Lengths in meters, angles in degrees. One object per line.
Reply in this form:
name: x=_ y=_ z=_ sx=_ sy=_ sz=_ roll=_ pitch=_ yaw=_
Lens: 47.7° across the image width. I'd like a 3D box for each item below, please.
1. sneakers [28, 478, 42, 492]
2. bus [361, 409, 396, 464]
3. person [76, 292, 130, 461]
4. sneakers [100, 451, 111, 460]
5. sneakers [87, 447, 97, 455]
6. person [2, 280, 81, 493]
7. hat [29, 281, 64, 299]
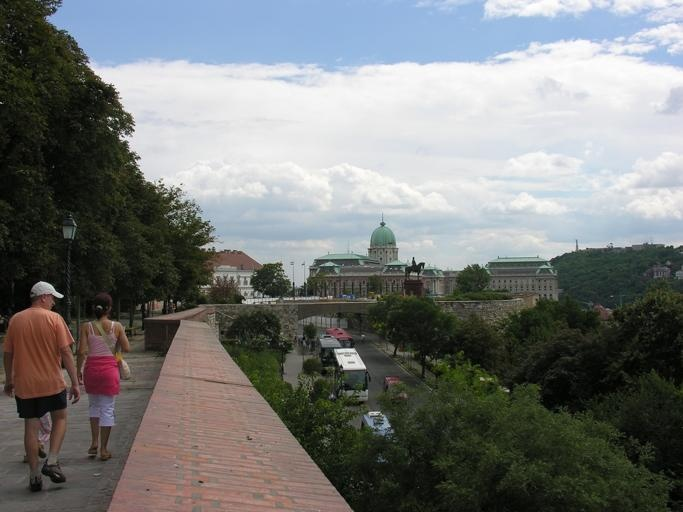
sneakers: x=-5.534 y=4.116 z=13.961 sx=0.249 sy=0.244 sz=0.207 roll=1 pitch=1 yaw=-8
bus: x=1.422 y=6.899 z=29.251 sx=1.121 sy=1.311 sz=4.095 roll=-3 pitch=-13 yaw=-2
person: x=-4.788 y=2.360 z=15.445 sx=0.916 sy=3.191 sz=0.863 roll=2 pitch=1 yaw=9
sneakers: x=-4.596 y=3.901 z=15.063 sx=0.093 sy=0.103 sz=0.231 roll=2 pitch=1 yaw=6
sneakers: x=-4.905 y=3.842 z=15.218 sx=0.172 sy=0.177 sz=0.123 roll=1 pitch=1 yaw=-12
person: x=-5.678 y=2.365 z=14.416 sx=1.303 sy=3.693 sz=1.149 roll=2 pitch=1 yaw=-2
hat: x=-5.639 y=0.671 z=14.952 sx=0.684 sy=0.362 sz=0.443 roll=-4 pitch=8 yaw=-33
